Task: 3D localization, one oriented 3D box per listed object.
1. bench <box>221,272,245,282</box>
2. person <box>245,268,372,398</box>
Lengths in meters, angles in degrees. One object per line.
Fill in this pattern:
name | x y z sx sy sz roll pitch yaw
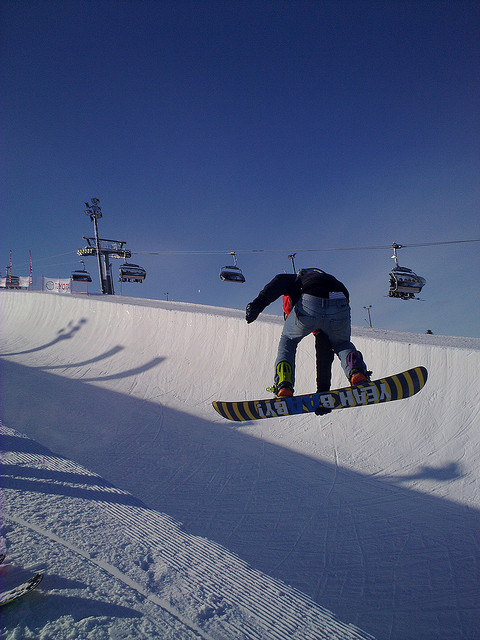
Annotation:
bench | -0.288 -1.660 19.178 0.912 0.316 0.362 13 5 -3
person | 0.594 0.105 4.736 0.958 1.493 1.092 -4 -32 7
